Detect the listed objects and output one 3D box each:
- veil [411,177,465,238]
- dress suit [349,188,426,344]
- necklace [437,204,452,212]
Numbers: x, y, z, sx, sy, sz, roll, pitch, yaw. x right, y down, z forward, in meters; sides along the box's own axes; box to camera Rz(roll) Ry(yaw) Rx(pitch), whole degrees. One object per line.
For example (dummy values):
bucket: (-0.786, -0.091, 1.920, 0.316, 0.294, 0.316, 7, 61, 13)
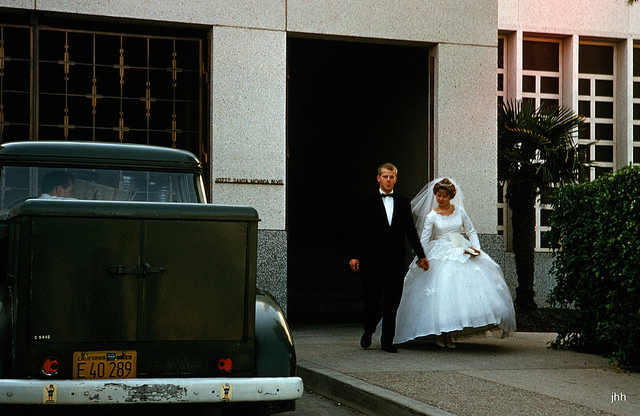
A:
veil: (1.961, 0.048, 13.345, 0.868, 0.334, 0.913, -17, 29, 17)
dress suit: (0.968, 0.894, 12.618, 1.124, 2.330, 0.524, 5, 5, 1)
necklace: (1.978, 0.011, 12.994, 0.118, 0.121, 0.024, -8, 2, 3)
